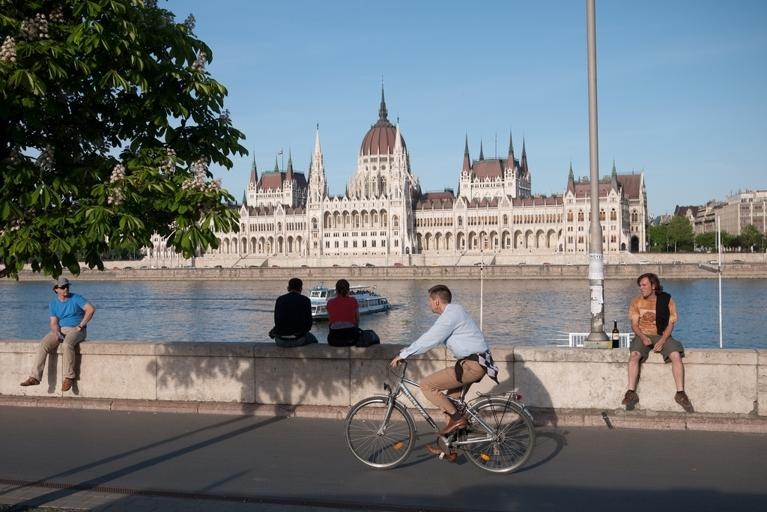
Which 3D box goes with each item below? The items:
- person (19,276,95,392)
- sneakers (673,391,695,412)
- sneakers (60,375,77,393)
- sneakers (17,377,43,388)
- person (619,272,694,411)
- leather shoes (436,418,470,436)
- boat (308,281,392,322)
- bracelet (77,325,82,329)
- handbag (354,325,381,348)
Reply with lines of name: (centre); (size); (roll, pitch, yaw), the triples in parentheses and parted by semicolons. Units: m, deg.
person: (-4.913, 1.203, 19.175); (0.969, 1.739, 0.690); (-1, -1, -16)
sneakers: (4.246, 2.074, 17.899); (0.262, 0.265, 0.156); (-1, -1, 8)
sneakers: (-4.781, 1.965, 19.138); (0.111, 0.132, 0.317); (-10, -18, -11)
sneakers: (-5.378, 1.942, 19.164); (0.283, 0.114, 0.147); (3, -4, 1)
person: (3.902, 1.250, 18.196); (0.965, 1.670, 0.609); (-2, -1, 10)
leather shoes: (0.911, 2.226, 16.462); (0.472, 0.192, 0.170); (-20, -20, 15)
boat: (-1.855, 2.175, 60.539); (4.699, 1.320, 1.800); (-6, 9, -40)
bracelet: (-4.601, 1.088, 19.111); (0.023, 0.021, 0.077); (33, -48, -26)
handbag: (-0.245, 1.217, 18.663); (0.319, 0.213, 0.275); (-1, -1, 0)
